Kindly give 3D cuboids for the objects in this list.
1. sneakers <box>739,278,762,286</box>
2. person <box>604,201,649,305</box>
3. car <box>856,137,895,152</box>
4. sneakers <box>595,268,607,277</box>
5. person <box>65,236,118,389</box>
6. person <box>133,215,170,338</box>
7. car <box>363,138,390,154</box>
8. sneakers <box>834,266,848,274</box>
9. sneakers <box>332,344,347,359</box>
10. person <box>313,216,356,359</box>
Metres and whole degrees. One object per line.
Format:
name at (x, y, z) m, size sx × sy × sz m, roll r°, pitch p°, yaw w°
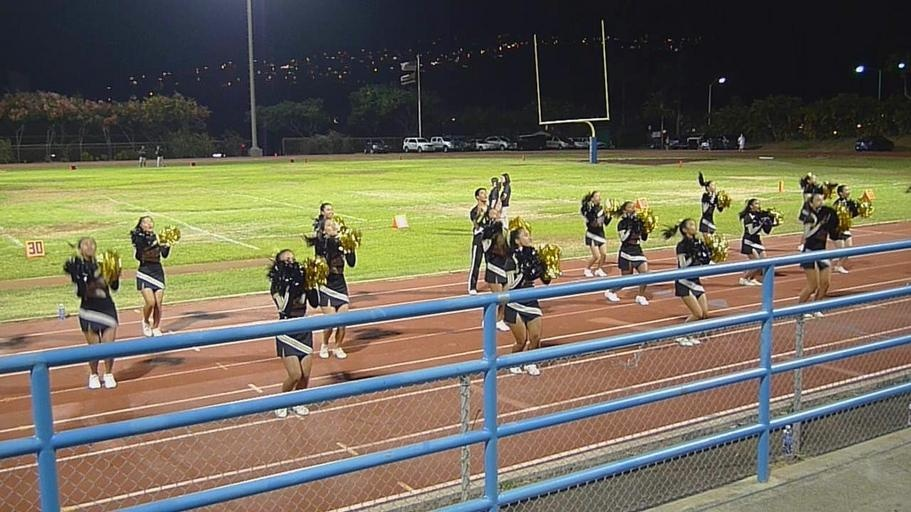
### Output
sneakers at (7.348, 0.658, 16.461) m, size 0.436 × 0.162 × 0.241 m, roll -1°, pitch 3°, yaw 9°
person at (3.950, -0.093, 15.123) m, size 0.862 × 2.258 × 1.430 m, roll -2°, pitch 10°, yaw 15°
car at (41.715, -11.114, 65.774) m, size 3.092 × 1.220 × 1.657 m, roll -9°, pitch 17°, yaw -14°
sneakers at (3.865, 0.451, 17.470) m, size 0.169 × 0.117 × 0.270 m, roll -4°, pitch 2°, yaw -23°
person at (-5.772, 0.935, 10.727) m, size 0.693 × 2.453 × 1.002 m, roll -10°, pitch 11°, yaw -29°
person at (-5.983, 0.416, 13.124) m, size 0.647 × 2.426 × 0.873 m, roll -9°, pitch 10°, yaw -26°
car at (-10.590, -14.654, 88.922) m, size 2.369 × 1.593 × 3.366 m, roll -3°, pitch 15°, yaw -18°
sneakers at (10.333, 0.378, 17.742) m, size 0.330 × 0.121 × 0.178 m, roll -2°, pitch 11°, yaw 4°
sneakers at (-2.071, 1.727, 11.975) m, size 0.139 × 0.151 × 0.352 m, roll -4°, pitch 7°, yaw -37°
person at (-2.144, 0.606, 11.928) m, size 0.836 × 2.510 × 1.537 m, roll -6°, pitch 9°, yaw -11°
